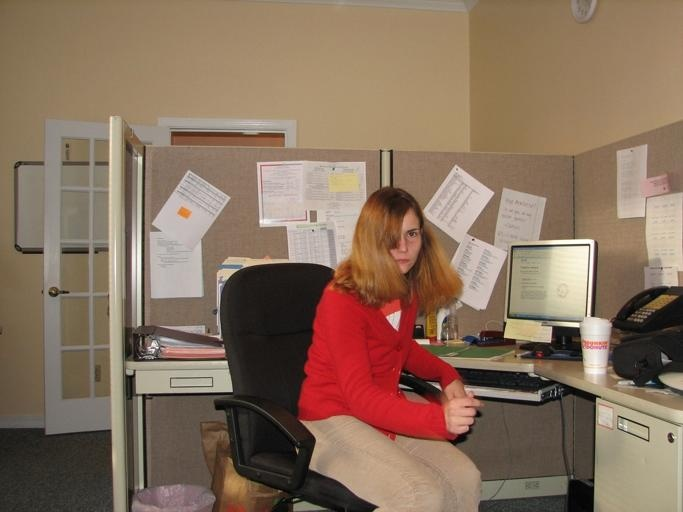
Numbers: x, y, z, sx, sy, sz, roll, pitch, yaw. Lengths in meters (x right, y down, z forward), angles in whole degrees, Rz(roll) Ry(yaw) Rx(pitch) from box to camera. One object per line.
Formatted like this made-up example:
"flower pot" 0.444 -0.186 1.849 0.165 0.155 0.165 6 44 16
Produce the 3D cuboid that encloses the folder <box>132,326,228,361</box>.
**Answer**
"folder" -0.755 0.421 2.866 0.298 0.101 0.232 3 -6 -17

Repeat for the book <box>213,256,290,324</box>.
"book" -0.388 0.157 2.628 0.305 0.314 0.076 -2 -3 -14

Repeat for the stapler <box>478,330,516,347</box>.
"stapler" 0.776 0.424 3.155 0.256 0.094 0.074 1 -6 -32
